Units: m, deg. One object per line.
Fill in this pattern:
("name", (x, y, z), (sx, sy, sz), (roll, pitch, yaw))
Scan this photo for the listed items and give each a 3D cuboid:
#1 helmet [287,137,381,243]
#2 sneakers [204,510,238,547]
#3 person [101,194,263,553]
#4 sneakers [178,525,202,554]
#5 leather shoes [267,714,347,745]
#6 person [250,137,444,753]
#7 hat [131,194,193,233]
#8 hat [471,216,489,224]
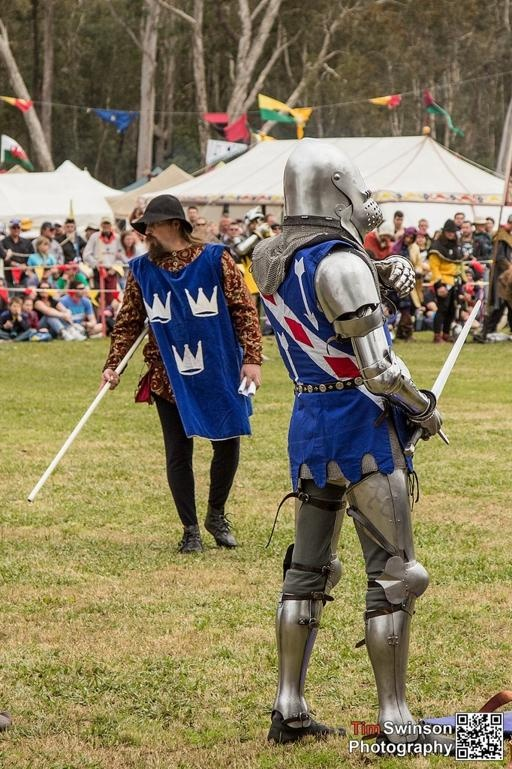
("helmet", (0.191, -0.574, 3.769), (0.352, 0.287, 0.284), (0, 14, -4))
("sneakers", (-0.174, 0.679, 5.901), (0.092, 0.091, 0.252), (-4, 22, -37))
("person", (-0.354, -0.048, 5.761), (0.750, 1.617, 0.470), (4, 7, 1))
("sneakers", (-0.307, 0.720, 5.755), (0.134, 0.124, 0.346), (0, -3, -5))
("leather shoes", (0.136, 1.051, 3.823), (0.286, 0.103, 0.089), (0, -3, -15))
("person", (0.262, 0.175, 3.764), (0.707, 1.817, 0.416), (6, 7, 20))
("hat", (-0.430, -0.776, 5.670), (0.282, 0.188, 0.282), (2, 6, -6))
("hat", (3.372, -2.427, 18.431), (0.266, 0.105, 0.346), (0, 7, -4))
